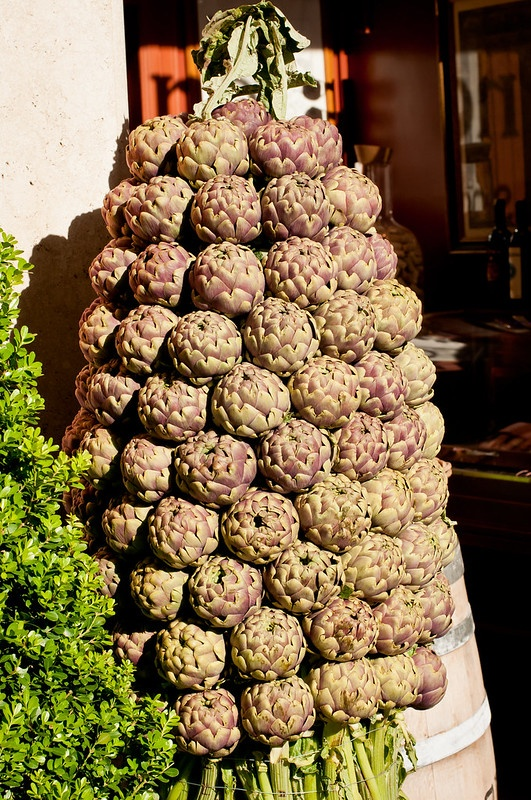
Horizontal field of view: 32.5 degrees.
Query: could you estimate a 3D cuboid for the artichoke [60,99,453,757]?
[{"bbox_3d":[0.007,0.012,1.101,0.485,0.792,0.297,-7,-6,-13],"label":"artichoke"}]
